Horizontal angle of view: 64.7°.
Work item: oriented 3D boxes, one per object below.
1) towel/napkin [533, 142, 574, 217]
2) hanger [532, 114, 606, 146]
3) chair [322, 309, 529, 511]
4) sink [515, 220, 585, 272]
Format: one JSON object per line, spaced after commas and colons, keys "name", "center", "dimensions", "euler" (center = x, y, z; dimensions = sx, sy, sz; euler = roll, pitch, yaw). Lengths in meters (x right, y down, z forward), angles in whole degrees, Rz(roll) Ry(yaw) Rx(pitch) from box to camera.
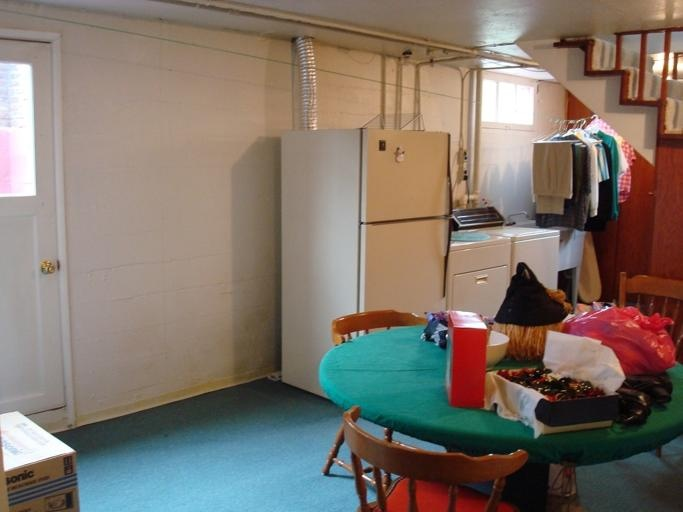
{"name": "towel/napkin", "center": [2.155, -0.784, 5.480], "dimensions": [0.411, 0.749, 0.180], "euler": [7, 15, 26]}
{"name": "hanger", "center": [2.614, -1.381, 5.919], "dimensions": [0.770, 0.236, 0.581], "euler": [-10, 20, -16]}
{"name": "chair", "center": [0.504, 0.854, 3.287], "dimensions": [1.057, 1.260, 0.907], "euler": [-1, 8, -27]}
{"name": "sink", "center": [2.309, -0.131, 5.915], "dimensions": [0.931, 0.589, 0.490], "euler": [-8, 18, -32]}
